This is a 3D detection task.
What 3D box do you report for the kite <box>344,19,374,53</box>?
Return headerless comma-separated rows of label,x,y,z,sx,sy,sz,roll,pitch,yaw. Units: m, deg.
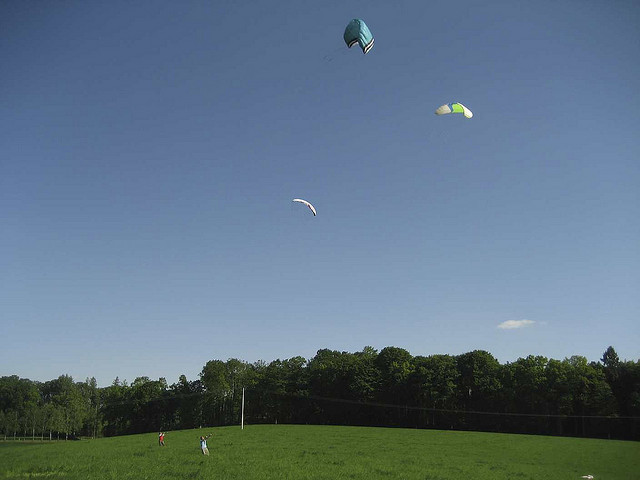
kite,3.241,-17.626,43.450,2.690,3.349,0.906,22,-36,5
